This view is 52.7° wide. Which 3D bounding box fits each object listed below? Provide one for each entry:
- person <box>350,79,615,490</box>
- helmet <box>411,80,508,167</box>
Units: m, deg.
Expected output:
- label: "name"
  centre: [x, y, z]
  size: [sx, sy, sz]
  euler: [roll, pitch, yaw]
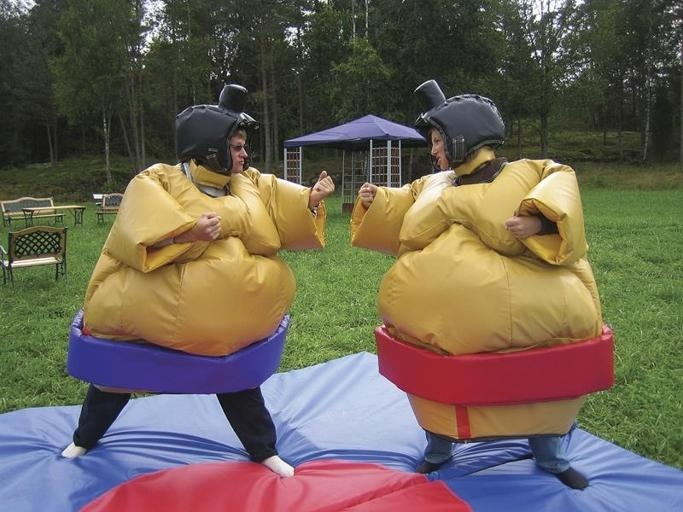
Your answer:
- label: "person"
  centre: [0.870, 0.157, 4.359]
  size: [1.507, 2.564, 0.607]
  euler: [4, 8, 19]
- label: "helmet"
  centre: [0.695, -0.877, 4.637]
  size: [0.656, 0.557, 0.478]
  euler: [-7, 2, -5]
